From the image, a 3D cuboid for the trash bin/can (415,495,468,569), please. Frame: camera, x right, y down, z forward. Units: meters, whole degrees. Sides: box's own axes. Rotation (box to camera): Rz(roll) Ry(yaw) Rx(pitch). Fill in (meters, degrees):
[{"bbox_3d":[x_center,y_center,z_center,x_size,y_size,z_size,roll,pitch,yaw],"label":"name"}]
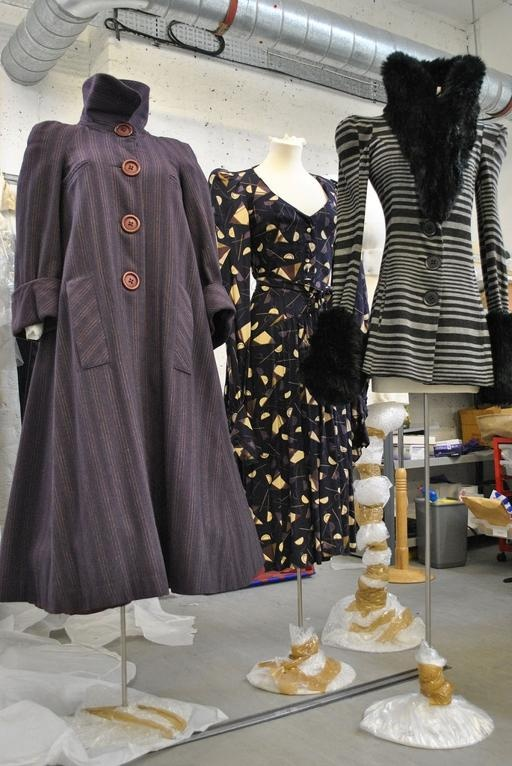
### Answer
[{"bbox_3d":[1.019,0.837,3.913,0.280,0.371,0.320,-2,-4,11],"label":"trash bin/can"}]
